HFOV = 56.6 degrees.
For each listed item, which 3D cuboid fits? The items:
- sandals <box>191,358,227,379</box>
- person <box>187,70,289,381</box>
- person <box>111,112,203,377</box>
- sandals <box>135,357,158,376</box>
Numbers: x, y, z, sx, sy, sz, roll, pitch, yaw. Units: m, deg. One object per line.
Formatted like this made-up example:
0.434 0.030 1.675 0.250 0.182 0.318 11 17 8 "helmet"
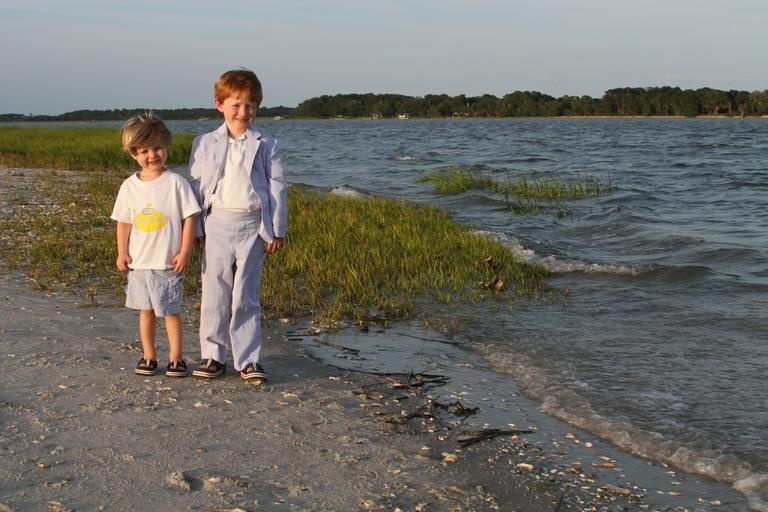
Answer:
-1.754 1.115 7.081 0.356 0.122 0.150 7 4 -6 "sandals"
-1.450 -0.297 7.049 0.938 2.996 0.786 -1 14 -7 "person"
-2.247 -0.102 6.984 0.757 2.534 0.578 8 15 26 "person"
-2.343 1.089 6.957 0.122 0.093 0.265 1 -2 -6 "sandals"
